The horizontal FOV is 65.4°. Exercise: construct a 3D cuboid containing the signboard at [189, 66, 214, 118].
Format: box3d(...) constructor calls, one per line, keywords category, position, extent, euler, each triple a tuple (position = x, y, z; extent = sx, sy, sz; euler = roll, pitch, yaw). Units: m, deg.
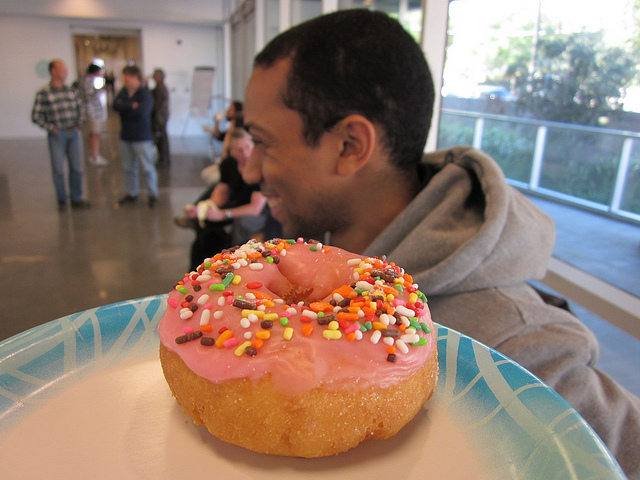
box3d(category="signboard", position=(-0.428, -0.531, 1.790), extent=(0.082, 0.173, 0.054), euler=(-6, 21, -30))
